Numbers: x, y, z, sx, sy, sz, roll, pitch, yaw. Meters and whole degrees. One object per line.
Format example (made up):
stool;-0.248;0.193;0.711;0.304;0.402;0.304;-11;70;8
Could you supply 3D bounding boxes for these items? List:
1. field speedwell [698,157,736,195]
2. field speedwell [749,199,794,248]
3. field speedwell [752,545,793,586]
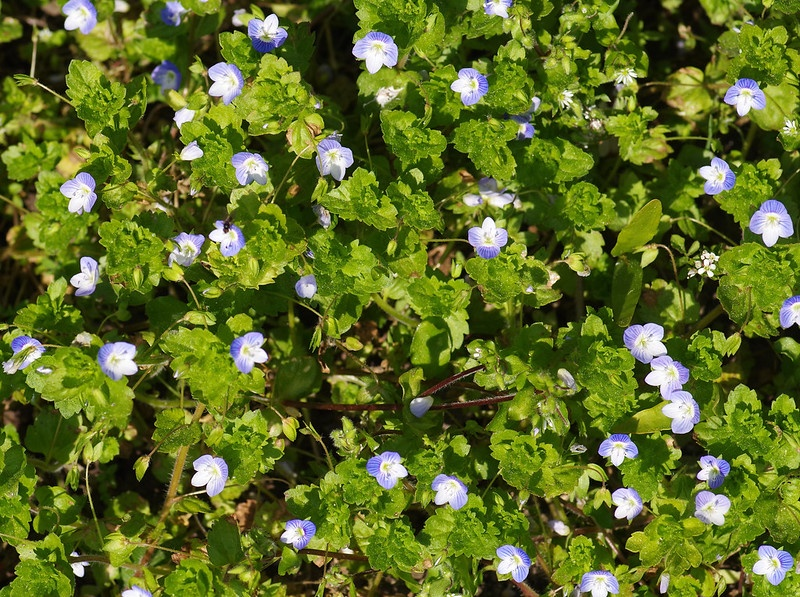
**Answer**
field speedwell;1.627;-0.610;4.071;0.208;0.144;0.154;9;78;2
field speedwell;1.840;-0.374;3.882;0.176;0.088;0.246;0;96;5
field speedwell;1.820;1.296;3.876;0.188;0.080;0.163;20;80;4
